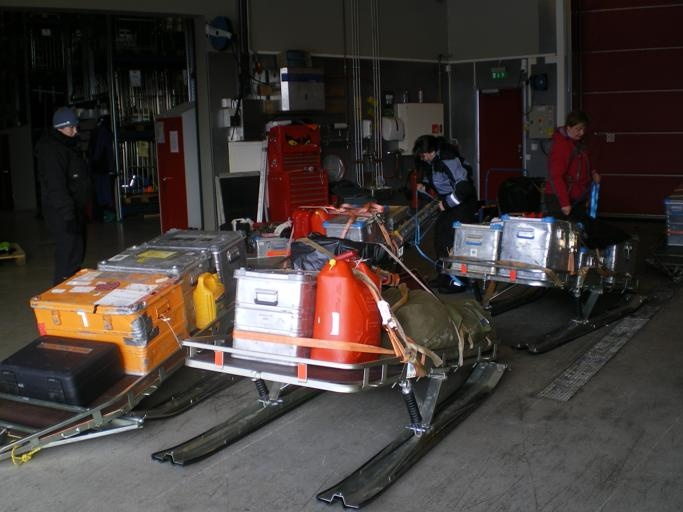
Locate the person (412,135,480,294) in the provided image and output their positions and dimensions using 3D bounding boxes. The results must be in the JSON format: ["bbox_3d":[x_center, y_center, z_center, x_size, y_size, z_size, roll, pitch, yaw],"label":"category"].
[{"bbox_3d":[1.231,-0.717,6.135,0.749,1.501,0.703,5,15,26],"label":"person"}]

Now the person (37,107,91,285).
[{"bbox_3d":[-2.929,-0.621,5.319,0.446,1.858,0.528,6,15,28],"label":"person"}]

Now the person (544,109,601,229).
[{"bbox_3d":[2.503,-1.011,5.557,0.454,1.159,0.469,4,14,20],"label":"person"}]

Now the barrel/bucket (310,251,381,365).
[{"bbox_3d":[0.040,0.268,2.754,0.401,0.505,0.256,-5,14,-15],"label":"barrel/bucket"}]

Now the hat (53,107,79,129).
[{"bbox_3d":[-2.887,-1.448,5.243,0.229,0.216,0.251,-8,15,-27],"label":"hat"}]

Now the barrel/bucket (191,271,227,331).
[{"bbox_3d":[-0.970,0.329,3.628,0.225,0.431,0.328,7,16,14],"label":"barrel/bucket"}]
